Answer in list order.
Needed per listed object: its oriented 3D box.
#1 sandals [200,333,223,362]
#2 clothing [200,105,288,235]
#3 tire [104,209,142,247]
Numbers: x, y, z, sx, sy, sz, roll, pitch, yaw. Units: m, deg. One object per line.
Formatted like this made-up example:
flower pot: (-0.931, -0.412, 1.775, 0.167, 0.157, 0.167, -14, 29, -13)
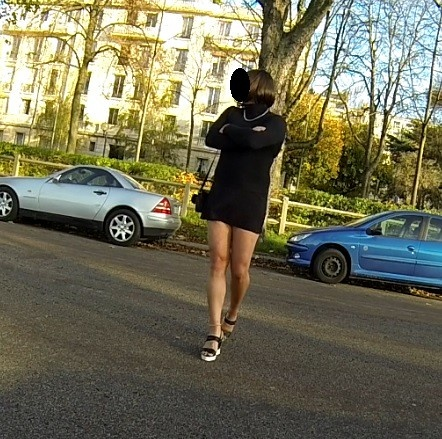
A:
sandals: (-0.083, 0.961, 2.805, 0.131, 0.171, 0.183, 7, -2, 8)
clothing: (0.152, -0.415, 2.859, 0.625, 0.829, 0.454, 7, -2, 9)
tire: (-2.338, 0.169, 8.882, 0.743, 0.870, 0.257, -2, -5, 6)
